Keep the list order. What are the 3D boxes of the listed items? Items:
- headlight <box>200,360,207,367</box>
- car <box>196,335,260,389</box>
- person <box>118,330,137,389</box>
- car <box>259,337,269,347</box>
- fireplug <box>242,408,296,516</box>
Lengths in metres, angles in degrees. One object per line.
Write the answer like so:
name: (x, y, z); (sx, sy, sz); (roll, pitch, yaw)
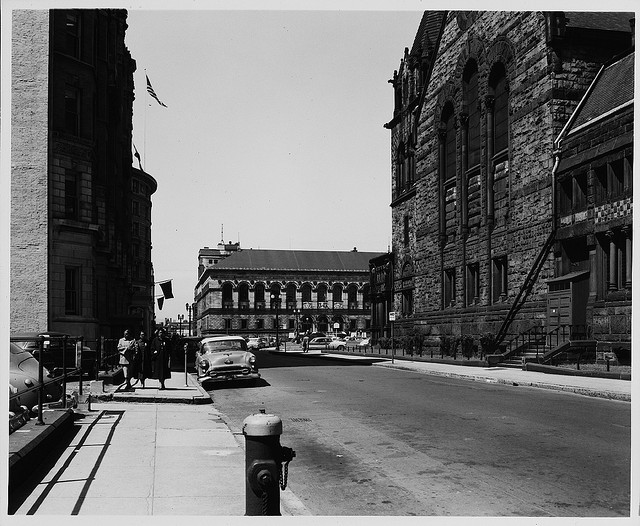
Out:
headlight: (-3.767, 3.305, 24.404); (0.099, 0.217, 0.401); (3, -11, -33)
car: (-3.107, 3.334, 25.277); (2.002, 1.804, 2.021); (-1, -9, -11)
person: (-5.855, 2.952, 22.789); (0.570, 1.815, 1.545); (0, -9, -15)
car: (-7.671, 11.091, 103.349); (0.765, 1.770, 1.667); (-4, -6, 27)
fireplug: (-0.647, 2.554, 9.441); (0.626, 1.391, 0.467); (1, -8, -21)
